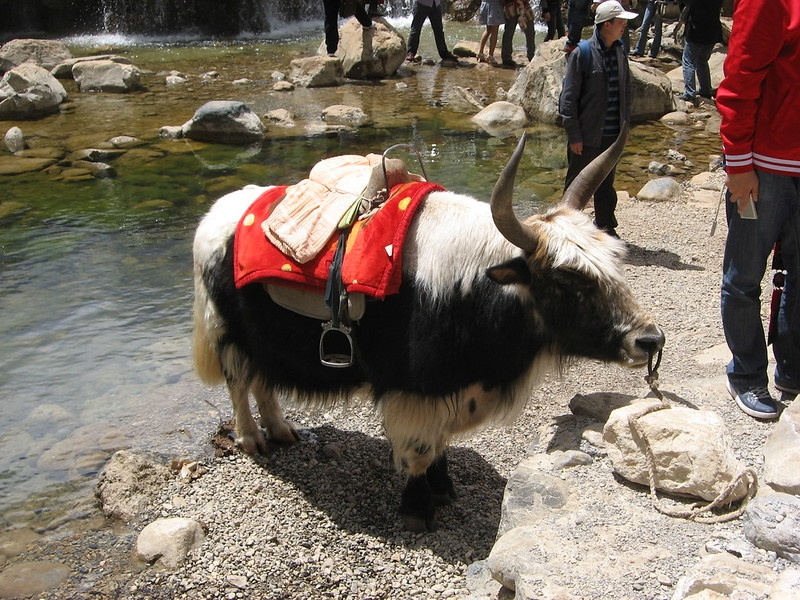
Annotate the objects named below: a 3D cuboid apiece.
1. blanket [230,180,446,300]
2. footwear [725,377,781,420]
[{"bbox_3d":[-0.338,-0.355,3.829,0.863,0.348,0.876,6,42,12],"label":"blanket"},{"bbox_3d":[2.102,0.598,4.128,0.121,0.116,0.299,-14,30,-14],"label":"footwear"}]
